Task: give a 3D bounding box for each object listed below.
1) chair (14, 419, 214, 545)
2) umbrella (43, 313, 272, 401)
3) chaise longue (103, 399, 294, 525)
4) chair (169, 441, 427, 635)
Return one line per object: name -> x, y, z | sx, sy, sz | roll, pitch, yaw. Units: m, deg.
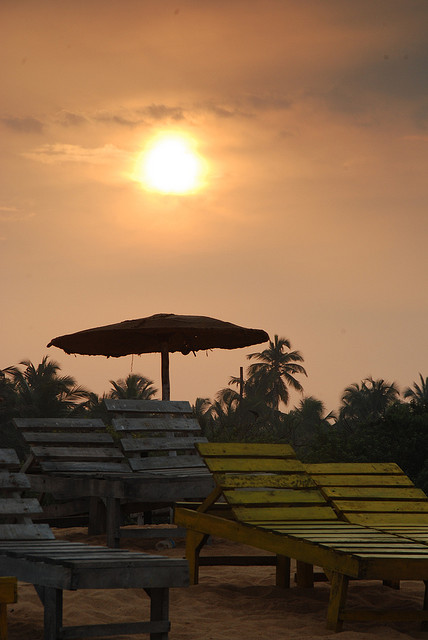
chair -> -1.130, 1.707, 9.496 | 1.412, 1.383, 2.651 | 10, -12, -43
umbrella -> -0.647, 0.242, 12.490 | 2.052, 1.066, 1.809 | 1, -2, -23
chaise longue -> -0.562, 1.667, 10.932 | 1.485, 1.524, 2.646 | 2, -6, -28
chair -> 0.750, 1.497, 6.572 | 1.083, 1.262, 2.567 | 8, -12, -27
